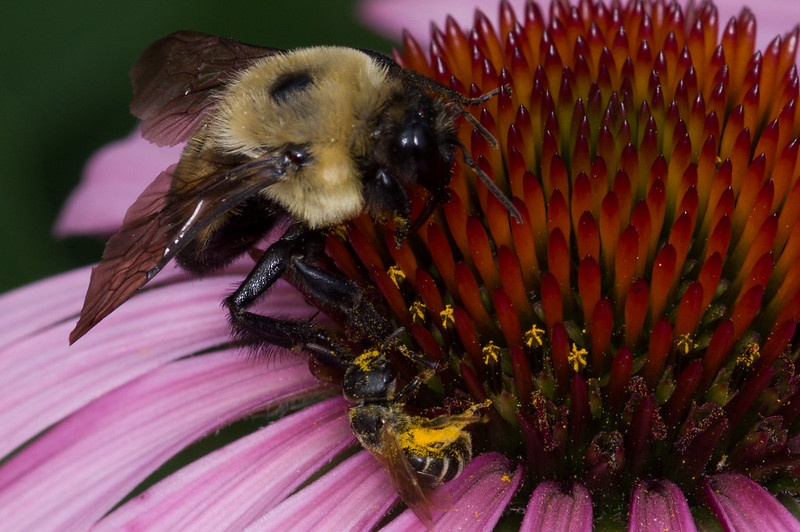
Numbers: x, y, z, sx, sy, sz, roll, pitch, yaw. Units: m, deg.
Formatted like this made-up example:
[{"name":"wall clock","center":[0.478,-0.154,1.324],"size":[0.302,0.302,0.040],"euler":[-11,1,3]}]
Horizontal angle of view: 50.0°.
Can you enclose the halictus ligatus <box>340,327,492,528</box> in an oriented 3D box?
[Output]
[{"name":"halictus ligatus","center":[0.027,0.341,2.030],"size":[0.299,0.364,0.243],"euler":[24,41,38]}]
